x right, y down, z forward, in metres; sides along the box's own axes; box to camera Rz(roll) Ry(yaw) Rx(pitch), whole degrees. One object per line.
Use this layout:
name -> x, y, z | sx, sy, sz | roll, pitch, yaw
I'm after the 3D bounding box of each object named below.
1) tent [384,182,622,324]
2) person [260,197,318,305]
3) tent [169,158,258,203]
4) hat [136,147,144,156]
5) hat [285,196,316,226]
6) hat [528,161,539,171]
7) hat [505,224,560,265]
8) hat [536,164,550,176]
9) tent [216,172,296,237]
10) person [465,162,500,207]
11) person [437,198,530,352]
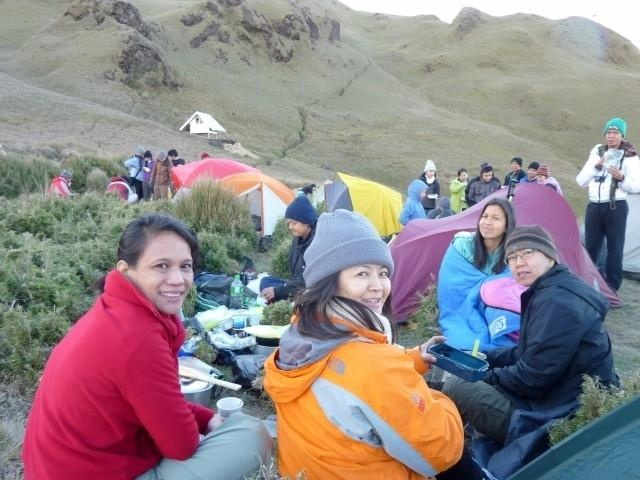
tent -> 2.144, 0.000, 7.638 | 2.071, 1.038, 2.081 | -3, 5, 19
person -> -0.397, 0.104, 7.156 | 0.830, 1.270, 0.824 | 0, 13, -10
tent -> -2.536, -1.590, 13.504 | 1.438, 0.528, 1.419 | -8, 16, -29
hat -> -4.681, -2.295, 15.189 | 0.162, 0.251, 0.240 | 3, -14, 8
hat -> -0.211, -0.352, 7.090 | 0.257, 0.316, 0.374 | 8, -4, 23
hat -> 4.236, -1.474, 11.686 | 0.191, 0.215, 0.290 | 4, 7, 24
hat -> 1.771, 0.018, 4.933 | 0.330, 0.242, 0.318 | 22, -27, -7
hat -> 4.045, -1.258, 10.660 | 0.181, 0.200, 0.220 | 2, -1, 10
tent -> -1.289, -0.856, 12.141 | 1.289, 0.666, 1.389 | 3, 15, -43
person -> 3.566, -1.017, 12.714 | 0.702, 1.282, 0.636 | 10, -34, 10
person -> 1.597, 0.486, 6.087 | 0.940, 1.549, 0.591 | 2, -21, 2
